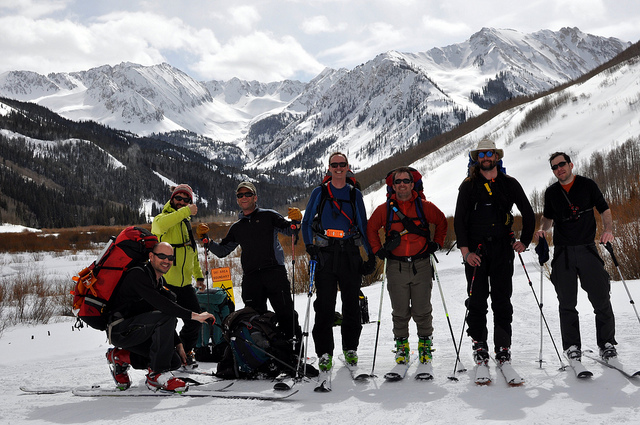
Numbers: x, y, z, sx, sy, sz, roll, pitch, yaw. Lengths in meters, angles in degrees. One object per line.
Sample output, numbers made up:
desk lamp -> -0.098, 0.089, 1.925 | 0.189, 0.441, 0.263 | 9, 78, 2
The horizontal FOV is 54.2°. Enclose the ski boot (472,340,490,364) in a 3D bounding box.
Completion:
ski boot -> 3.658, 3.189, 14.272 | 0.332, 0.551, 0.235 | -6, -12, 9

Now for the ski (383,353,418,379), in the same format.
ski -> 1.819, 3.638, 14.395 | 0.273, 0.189, 1.703 | 6, 9, 20

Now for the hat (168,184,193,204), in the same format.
hat -> -3.529, -0.476, 16.026 | 0.546, 0.600, 0.569 | -2, -12, -14

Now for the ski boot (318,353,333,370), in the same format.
ski boot -> 0.118, 3.484, 14.557 | 0.184, 0.261, 0.417 | -1, -37, 3

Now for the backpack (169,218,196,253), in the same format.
backpack -> -3.358, 0.590, 15.678 | 0.321, 0.841, 0.599 | -13, -15, 38

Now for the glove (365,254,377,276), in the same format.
glove -> 1.184, 1.252, 14.866 | 0.276, 0.448, 0.591 | -5, -12, 3

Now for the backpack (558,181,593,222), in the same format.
backpack -> 5.800, -0.103, 14.490 | 0.443, 0.467, 0.325 | 26, -39, 22

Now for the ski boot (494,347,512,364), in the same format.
ski boot -> 4.163, 3.273, 14.239 | 0.282, 0.367, 0.351 | 2, -24, -6

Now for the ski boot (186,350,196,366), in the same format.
ski boot -> -3.214, 3.654, 15.650 | 0.223, 0.365, 0.400 | -2, -12, -13

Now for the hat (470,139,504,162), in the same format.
hat -> 3.926, -1.535, 14.856 | 0.508, 0.323, 0.588 | -2, -23, 15

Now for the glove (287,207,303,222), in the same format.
glove -> -0.614, 0.059, 15.304 | 0.331, 0.501, 0.749 | -4, -12, -3

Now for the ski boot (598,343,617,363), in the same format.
ski boot -> 6.515, 3.199, 14.257 | 0.188, 0.253, 0.570 | -3, -25, 5
